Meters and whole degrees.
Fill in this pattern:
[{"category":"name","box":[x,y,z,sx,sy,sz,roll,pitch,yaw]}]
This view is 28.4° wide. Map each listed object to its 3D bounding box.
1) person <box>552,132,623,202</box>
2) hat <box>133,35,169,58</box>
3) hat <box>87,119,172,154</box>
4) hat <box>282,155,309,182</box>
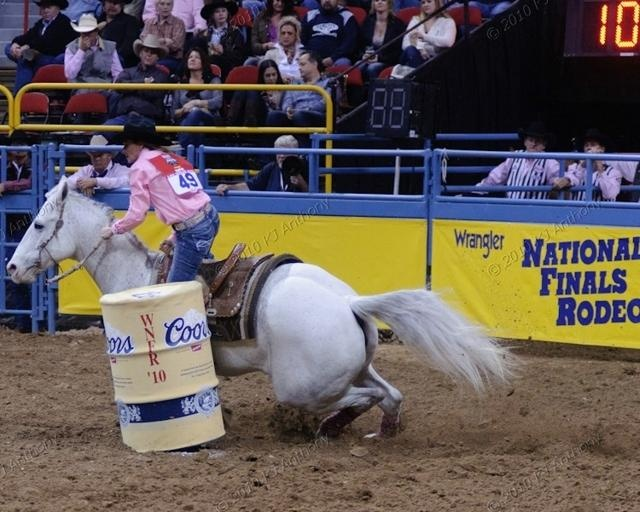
[{"category":"person","box":[3.123,-1.039,14.537,0.740,0.779,0.941,14,4,11]},{"category":"hat","box":[-2.385,-2.985,17.968,0.504,0.200,0.555,3,-17,-7]},{"category":"hat","box":[-2.103,-1.298,13.752,0.986,0.320,0.806,8,0,-3]},{"category":"hat","box":[-0.305,-1.062,15.205,0.245,0.308,0.258,2,14,2]}]
